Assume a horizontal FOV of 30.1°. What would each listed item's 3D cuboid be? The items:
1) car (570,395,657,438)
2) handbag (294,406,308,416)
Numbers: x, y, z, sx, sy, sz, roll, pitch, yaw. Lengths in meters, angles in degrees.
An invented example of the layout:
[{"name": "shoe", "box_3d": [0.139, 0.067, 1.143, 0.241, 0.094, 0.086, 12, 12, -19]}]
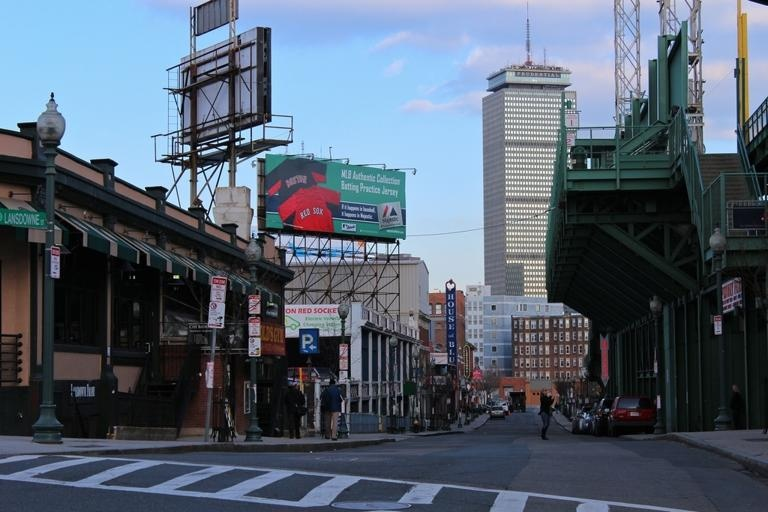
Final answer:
[{"name": "car", "box_3d": [10.700, 7.273, 65.530, 1.725, 1.492, 4.795, 1, -5, -8]}, {"name": "handbag", "box_3d": [-3.435, 6.246, 58.345, 0.319, 0.417, 0.589, 3, 0, 28]}]
